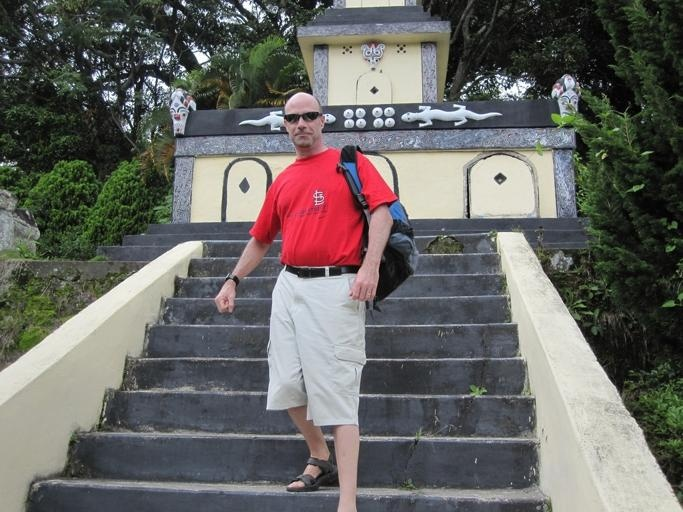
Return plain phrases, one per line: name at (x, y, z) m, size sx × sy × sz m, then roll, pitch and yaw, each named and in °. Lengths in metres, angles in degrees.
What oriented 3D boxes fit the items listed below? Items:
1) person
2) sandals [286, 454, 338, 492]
person at (-0.210, 0.219, 3.300) m, size 0.744 × 2.298 × 1.209 m, roll -8°, pitch 15°, yaw -25°
sandals at (-0.151, 1.338, 3.396) m, size 0.137 × 0.193 × 0.377 m, roll -17°, pitch -17°, yaw 38°
